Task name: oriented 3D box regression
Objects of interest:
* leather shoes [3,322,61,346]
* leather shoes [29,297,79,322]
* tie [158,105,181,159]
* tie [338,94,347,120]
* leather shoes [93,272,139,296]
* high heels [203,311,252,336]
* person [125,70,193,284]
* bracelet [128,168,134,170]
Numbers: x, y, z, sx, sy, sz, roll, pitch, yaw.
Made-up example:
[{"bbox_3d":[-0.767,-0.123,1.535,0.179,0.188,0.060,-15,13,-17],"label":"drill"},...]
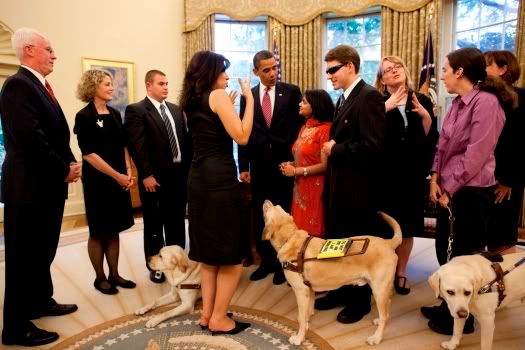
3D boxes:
[{"bbox_3d":[-2.114,1.512,3.850,0.426,0.191,0.215,1,1,-15],"label":"leather shoes"},{"bbox_3d":[-2.078,1.369,4.250,0.472,0.211,0.161,-3,5,-23],"label":"leather shoes"},{"bbox_3d":[-1.048,-0.468,4.826,0.097,0.927,0.125,-17,-17,-2],"label":"tie"},{"bbox_3d":[0.818,-0.669,4.129,0.068,0.198,0.137,20,-14,-28],"label":"tie"},{"bbox_3d":[-1.641,1.203,4.629,0.294,0.107,0.240,-1,1,35],"label":"leather shoes"},{"bbox_3d":[-0.293,1.409,3.942,0.518,0.128,0.178,6,0,-25],"label":"high heels"},{"bbox_3d":[-1.132,-0.025,4.991,0.782,2.311,0.635,-7,25,-24],"label":"person"},{"bbox_3d":[-1.491,-0.058,4.715,0.032,0.026,0.034,-2,4,11],"label":"bracelet"}]
